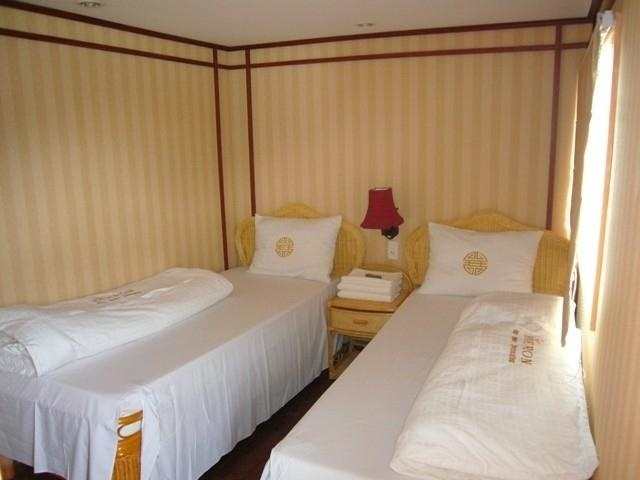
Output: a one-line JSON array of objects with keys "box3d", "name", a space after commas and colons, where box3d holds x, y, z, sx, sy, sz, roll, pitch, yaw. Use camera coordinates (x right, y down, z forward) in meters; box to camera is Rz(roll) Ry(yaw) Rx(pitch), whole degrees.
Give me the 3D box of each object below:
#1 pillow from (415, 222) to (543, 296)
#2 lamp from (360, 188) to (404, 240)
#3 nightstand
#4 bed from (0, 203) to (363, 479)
[{"box3d": [1.169, 0.138, 3.404, 0.556, 0.335, 0.134, 3, -14, 21], "name": "pillow"}, {"box3d": [0.494, -0.186, 3.747, 0.405, 0.482, 0.374, -3, 3, 13], "name": "lamp"}, {"box3d": [0.289, 0.794, 3.910, 0.835, 0.749, 0.619, 2, 8, 22], "name": "nightstand"}, {"box3d": [-0.801, 0.581, 3.422, 1.322, 1.261, 2.323, 7, 18, 28], "name": "bed"}]
